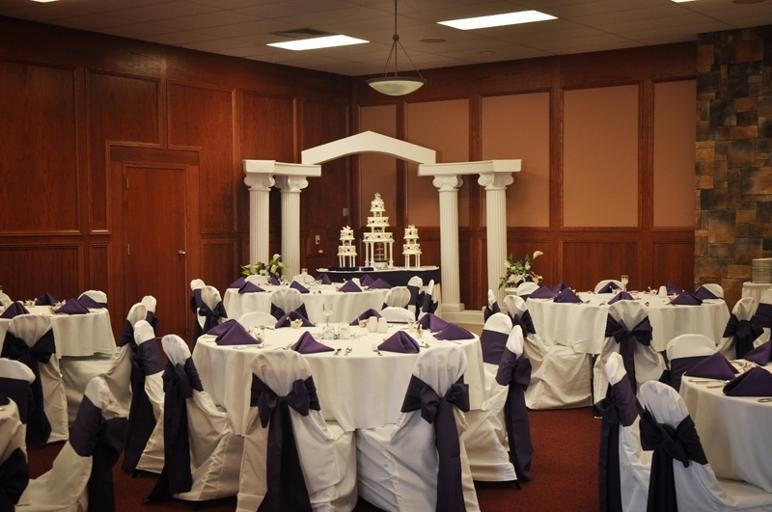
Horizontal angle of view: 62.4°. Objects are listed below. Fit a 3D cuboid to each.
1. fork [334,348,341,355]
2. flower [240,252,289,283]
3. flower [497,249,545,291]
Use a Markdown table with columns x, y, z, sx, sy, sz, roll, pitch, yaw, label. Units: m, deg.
| x | y | z | sx | sy | sz | roll | pitch | yaw | label |
| --- | --- | --- | --- | --- | --- | --- | --- | --- | --- |
| -0.412 | 0.807 | 5.411 | 0.017 | 0.071 | 0.070 | 32 | 10 | 5 | fork |
| -1.825 | 0.185 | 9.935 | 0.593 | 0.336 | 0.599 | 3 | 11 | 45 | flower |
| 2.263 | 0.281 | 10.752 | 0.708 | 0.575 | 0.744 | 0 | -1 | -3 | flower |
